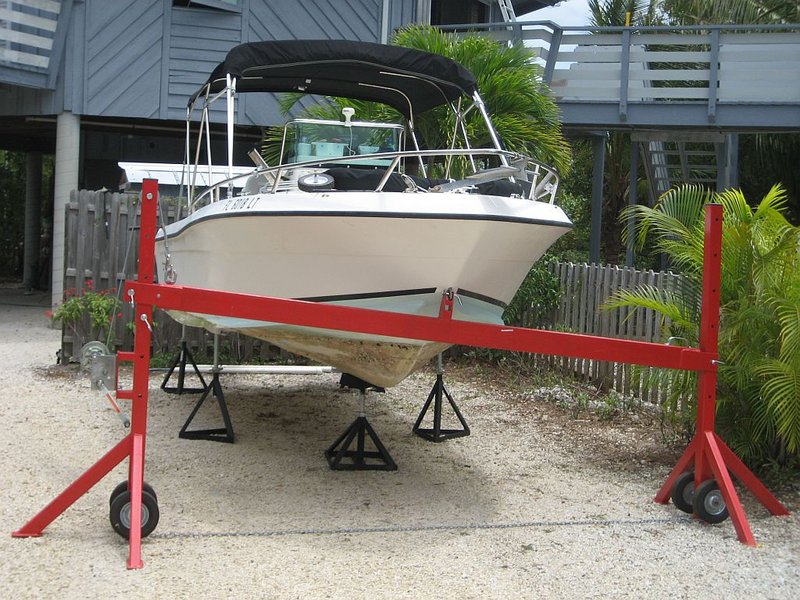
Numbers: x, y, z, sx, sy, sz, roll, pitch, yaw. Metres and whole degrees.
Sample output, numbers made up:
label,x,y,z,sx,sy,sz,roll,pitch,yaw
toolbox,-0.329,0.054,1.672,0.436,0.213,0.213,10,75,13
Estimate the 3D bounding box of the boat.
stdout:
label,x,y,z,sx,sy,sz,roll,pitch,yaw
boat,-1.008,-1.018,10.366,3.510,3.631,7.391,2,1,-21
